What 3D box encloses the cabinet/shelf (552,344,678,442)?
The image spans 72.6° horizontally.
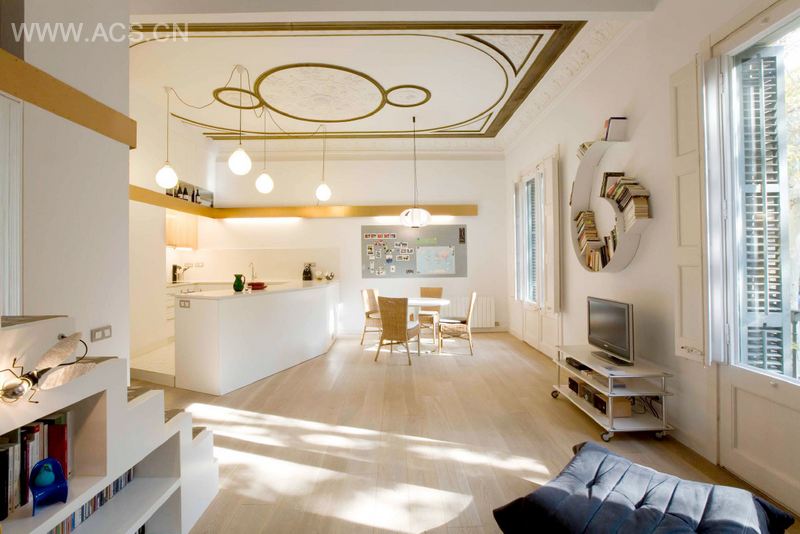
[{"bbox_3d":[2.122,1.019,5.290,0.666,0.574,1.181,1,2,-1],"label":"cabinet/shelf"}]

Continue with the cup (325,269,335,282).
[{"bbox_3d":[-1.190,0.153,9.284,0.174,0.119,0.140,-2,1,-4],"label":"cup"}]

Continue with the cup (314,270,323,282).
[{"bbox_3d":[-1.371,0.164,9.237,0.158,0.186,0.159,3,10,0],"label":"cup"}]

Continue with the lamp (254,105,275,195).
[{"bbox_3d":[-2.087,-1.604,8.350,0.274,1.160,2.033,-2,1,-13],"label":"lamp"}]

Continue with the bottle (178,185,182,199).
[{"bbox_3d":[-3.411,-1.146,8.447,0.038,0.158,0.156,-2,1,-4],"label":"bottle"}]

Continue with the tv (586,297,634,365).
[{"bbox_3d":[2.086,0.645,5.355,0.163,0.436,0.616,-3,5,-9],"label":"tv"}]

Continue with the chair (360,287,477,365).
[{"bbox_3d":[0.300,0.820,7.395,1.081,0.561,1.091,-1,2,7],"label":"chair"}]

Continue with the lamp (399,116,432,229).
[{"bbox_3d":[0.237,-1.384,8.589,0.441,1.585,1.566,-1,1,3],"label":"lamp"}]

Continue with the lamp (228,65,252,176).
[{"bbox_3d":[-1.952,-1.786,6.704,0.333,1.432,0.335,2,-8,-17],"label":"lamp"}]

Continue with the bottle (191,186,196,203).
[{"bbox_3d":[-3.351,-1.159,8.872,0.025,0.221,0.113,-1,1,9],"label":"bottle"}]
